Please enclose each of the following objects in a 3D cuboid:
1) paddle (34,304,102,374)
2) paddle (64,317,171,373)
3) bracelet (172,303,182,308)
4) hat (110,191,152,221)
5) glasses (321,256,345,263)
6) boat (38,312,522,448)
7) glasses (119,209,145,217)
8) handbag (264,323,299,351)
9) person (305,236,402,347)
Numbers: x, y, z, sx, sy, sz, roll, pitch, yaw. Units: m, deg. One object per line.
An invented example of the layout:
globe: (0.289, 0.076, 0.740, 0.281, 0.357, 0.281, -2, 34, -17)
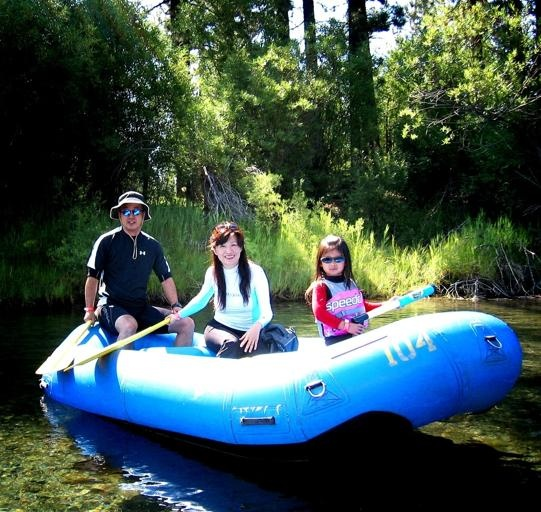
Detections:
paddle: (-1.547, 0.597, 4.075, 0.225, 0.089, 0.737, 4, 28, 15)
paddle: (-1.134, 0.661, 3.857, 0.817, 0.108, 0.142, -23, 23, -40)
bracelet: (-0.772, 0.408, 4.272, 0.039, 0.031, 0.060, 4, -2, 10)
hat: (-1.197, -0.461, 4.454, 0.303, 0.162, 0.460, -1, -33, -14)
glasses: (0.417, 0.026, 3.453, 0.158, 0.050, 0.052, 0, 2, 6)
boat: (-0.127, 0.725, 2.988, 1.172, 0.494, 2.190, 3, -9, -45)
glasses: (-1.127, -0.353, 4.234, 0.158, 0.069, 0.069, -2, 2, -22)
handbag: (0.077, 0.559, 3.594, 0.186, 0.213, 0.078, 12, 24, 26)
person: (0.548, 0.390, 3.543, 0.453, 1.113, 0.411, -15, 9, 0)
